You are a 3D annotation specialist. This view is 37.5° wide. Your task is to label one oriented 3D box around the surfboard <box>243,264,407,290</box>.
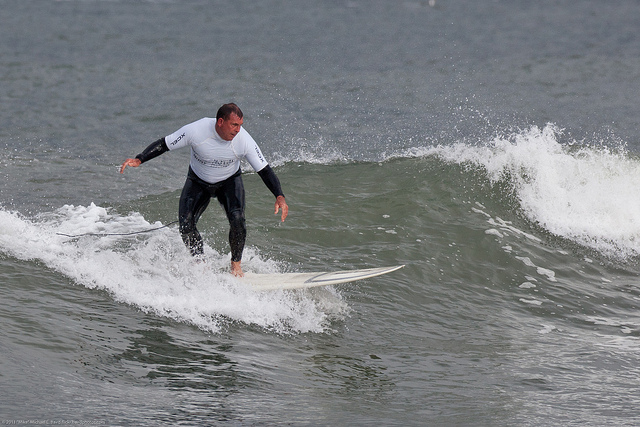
[{"bbox_3d":[-0.006,1.326,19.435,3.469,0.348,0.377,-4,80,21],"label":"surfboard"}]
